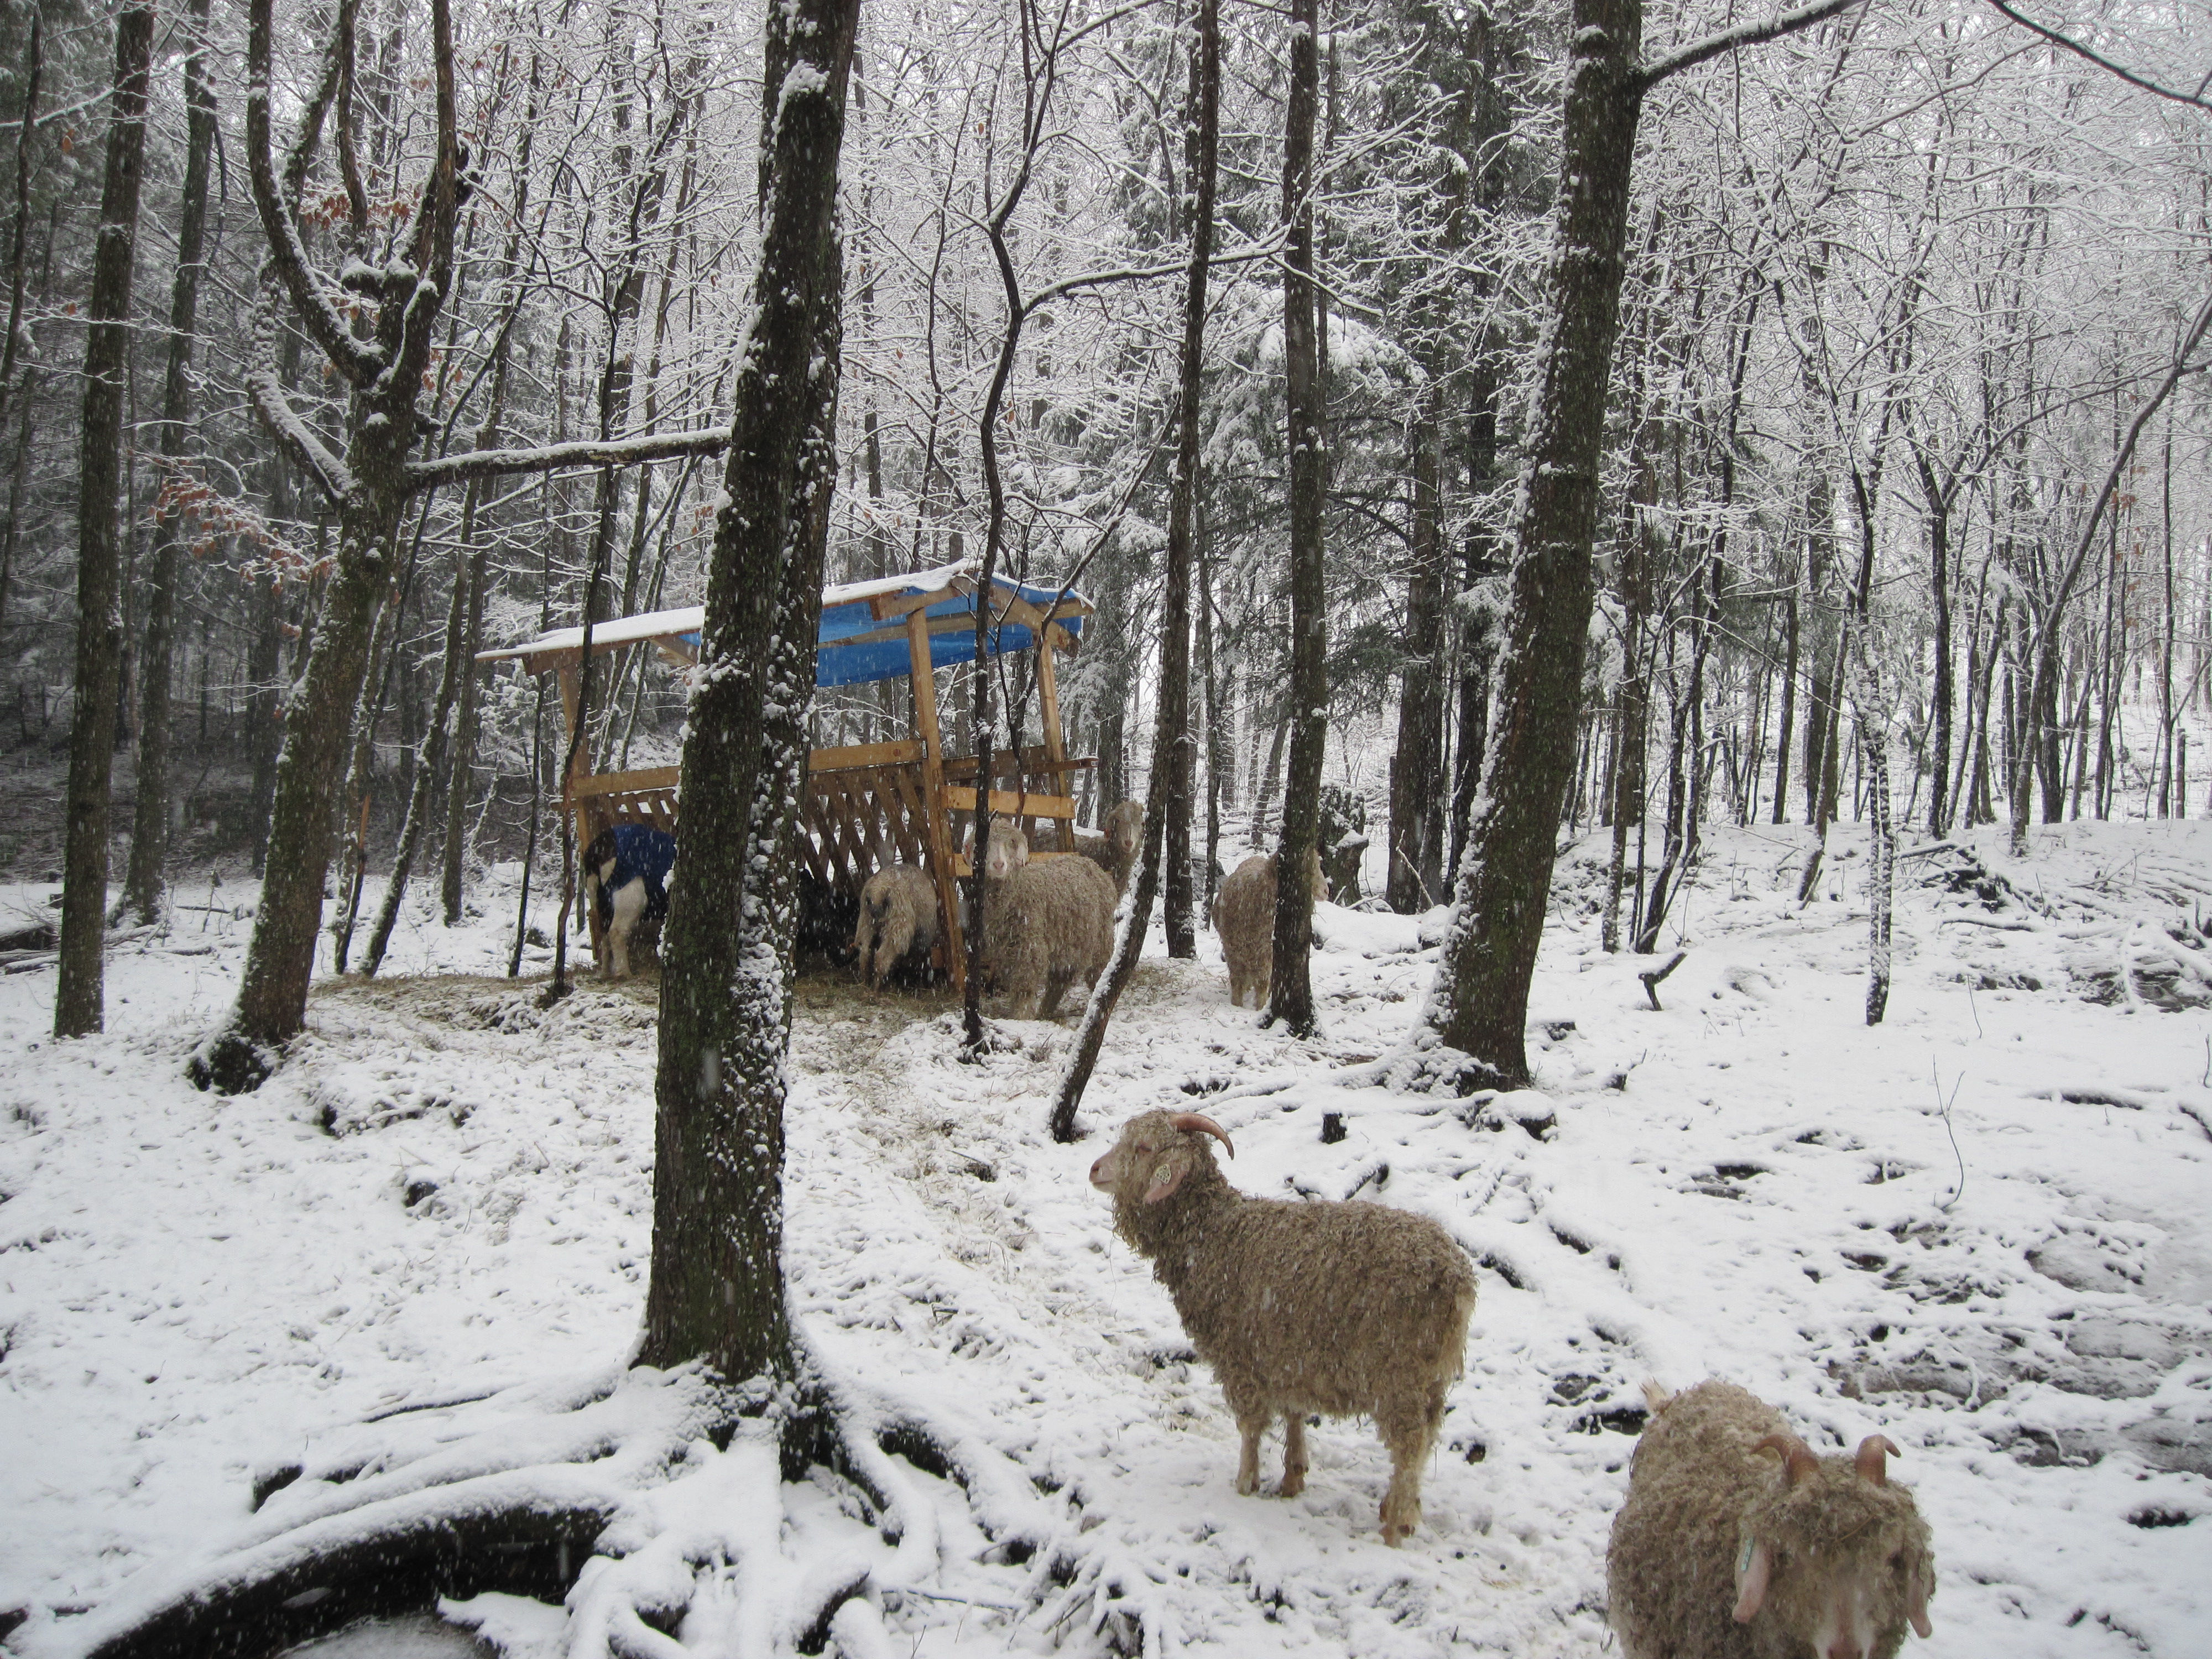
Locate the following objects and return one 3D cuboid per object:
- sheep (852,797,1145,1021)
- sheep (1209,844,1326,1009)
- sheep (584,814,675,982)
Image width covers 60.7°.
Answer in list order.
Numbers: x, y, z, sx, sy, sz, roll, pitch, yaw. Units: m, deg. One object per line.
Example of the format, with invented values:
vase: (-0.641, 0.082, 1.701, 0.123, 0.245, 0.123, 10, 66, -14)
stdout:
sheep: (-1.042, 0.665, 18.393, 2.778, 2.012, 2.462, 4, 0, -7)
sheep: (1.281, 0.881, 17.057, 0.439, 1.425, 1.499, 3, 0, 1)
sheep: (-4.677, 0.564, 18.540, 0.515, 1.671, 1.914, 2, 3, 10)
